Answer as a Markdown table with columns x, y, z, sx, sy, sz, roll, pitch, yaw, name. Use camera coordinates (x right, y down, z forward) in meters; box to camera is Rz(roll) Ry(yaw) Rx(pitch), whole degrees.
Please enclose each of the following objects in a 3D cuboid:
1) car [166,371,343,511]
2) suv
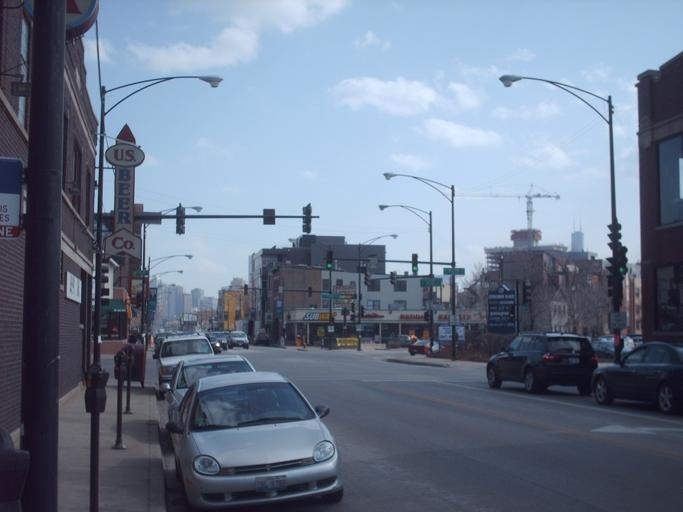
| x | y | z | sx | sy | sz | roll | pitch | yaw | name |
| --- | --- | --- | --- | --- | --- | --- | --- | --- | --- |
| -1.313 | 2.845 | 13.196 | 2.688 | 1.998 | 2.038 | -2 | -6 | 11 | car |
| 6.088 | 3.347 | 26.747 | 1.466 | 1.443 | 3.420 | 5 | -6 | -17 | suv |
